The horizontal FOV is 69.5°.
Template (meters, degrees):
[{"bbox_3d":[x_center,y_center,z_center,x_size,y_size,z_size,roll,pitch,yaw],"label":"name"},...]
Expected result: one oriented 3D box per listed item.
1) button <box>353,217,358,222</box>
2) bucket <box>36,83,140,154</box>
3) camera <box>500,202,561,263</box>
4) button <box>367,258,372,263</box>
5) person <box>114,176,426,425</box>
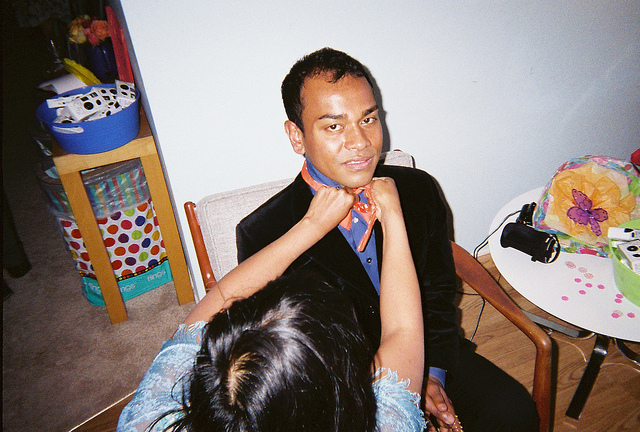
[{"bbox_3d":[0.142,0.014,1.814,0.018,0.019,0.003,5,29,8],"label":"button"},{"bbox_3d":[-1.158,-0.514,2.394,0.573,0.321,0.426,-9,43,-14],"label":"bucket"},{"bbox_3d":[0.941,0.098,2.072,0.237,0.208,0.242,-8,40,-14],"label":"camera"},{"bbox_3d":[0.198,0.175,1.822,0.019,0.019,0.004,-1,-1,-10],"label":"button"},{"bbox_3d":[-0.140,0.307,1.530,1.042,0.553,0.647,-6,30,-12],"label":"person"}]
